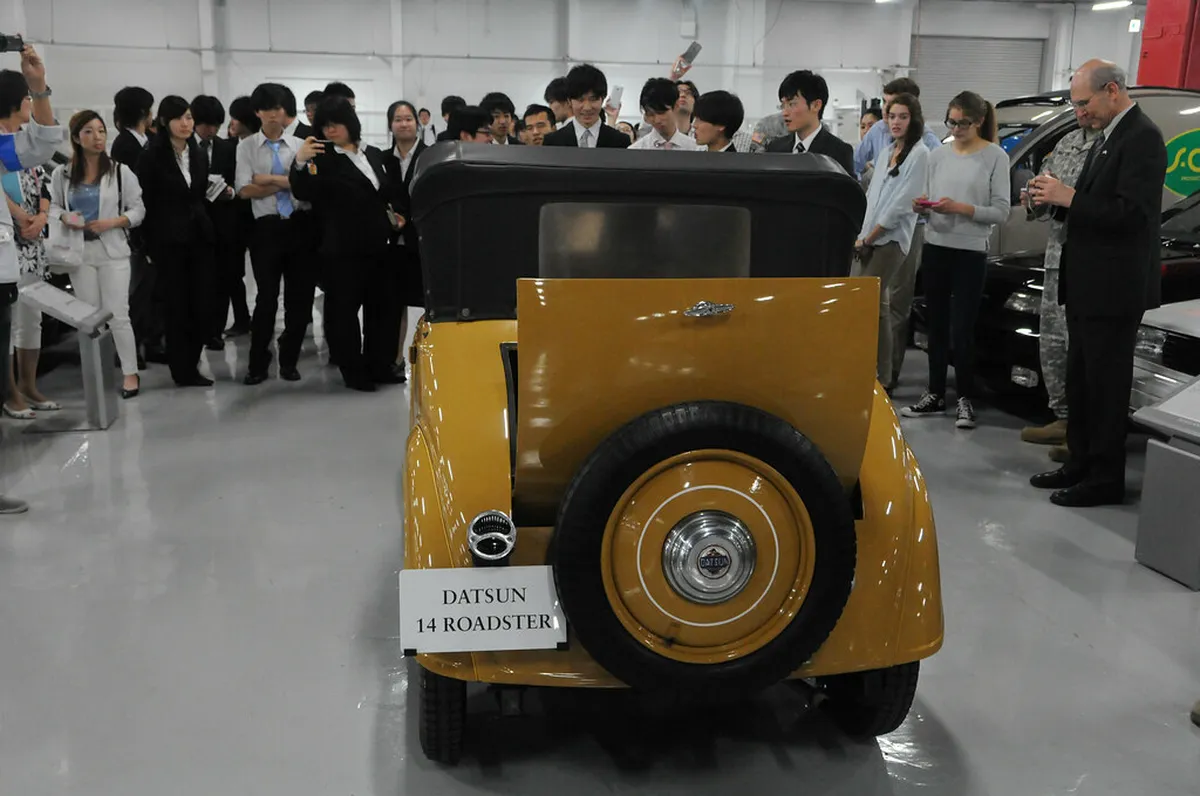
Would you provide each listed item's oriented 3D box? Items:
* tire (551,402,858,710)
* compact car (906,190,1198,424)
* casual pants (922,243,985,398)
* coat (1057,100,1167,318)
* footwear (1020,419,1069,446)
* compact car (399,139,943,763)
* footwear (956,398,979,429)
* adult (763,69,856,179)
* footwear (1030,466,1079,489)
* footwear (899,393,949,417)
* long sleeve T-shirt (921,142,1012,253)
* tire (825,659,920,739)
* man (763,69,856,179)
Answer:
[{"bbox_3d":[0.286,0.422,2.406,0.794,0.901,0.175,-2,3,-4],"label":"tire"},{"bbox_3d":[3.581,-0.582,5.880,2.325,1.359,1.182,0,9,3],"label":"compact car"},{"bbox_3d":[2.358,-0.495,5.626,0.331,1.163,0.259,4,-22,12],"label":"casual pants"},{"bbox_3d":[2.687,-0.967,4.322,0.532,1.084,0.369,8,16,27],"label":"coat"},{"bbox_3d":[2.891,0.216,5.399,0.310,0.148,0.130,2,7,3],"label":"footwear"},{"bbox_3d":[0.163,-0.089,3.896,1.667,2.041,3.427,1,19,-5],"label":"compact car"},{"bbox_3d":[2.483,0.111,5.581,0.092,0.122,0.291,0,14,8],"label":"footwear"},{"bbox_3d":[1.350,-1.797,5.443,0.353,0.708,0.783,-15,25,-25],"label":"adult"},{"bbox_3d":[2.557,0.447,4.701,0.286,0.129,0.104,1,7,6],"label":"footwear"},{"bbox_3d":[2.239,0.040,5.861,0.387,0.197,0.139,0,9,-1],"label":"footwear"},{"bbox_3d":[2.424,-1.351,5.603,0.341,0.789,0.602,10,5,-39],"label":"long sleeve T-shirt"},{"bbox_3d":[0.903,1.002,2.765,0.119,0.376,0.350,1,0,-14],"label":"tire"},{"bbox_3d":[1.346,-1.799,5.438,0.357,0.700,0.789,-16,25,-27],"label":"man"}]
